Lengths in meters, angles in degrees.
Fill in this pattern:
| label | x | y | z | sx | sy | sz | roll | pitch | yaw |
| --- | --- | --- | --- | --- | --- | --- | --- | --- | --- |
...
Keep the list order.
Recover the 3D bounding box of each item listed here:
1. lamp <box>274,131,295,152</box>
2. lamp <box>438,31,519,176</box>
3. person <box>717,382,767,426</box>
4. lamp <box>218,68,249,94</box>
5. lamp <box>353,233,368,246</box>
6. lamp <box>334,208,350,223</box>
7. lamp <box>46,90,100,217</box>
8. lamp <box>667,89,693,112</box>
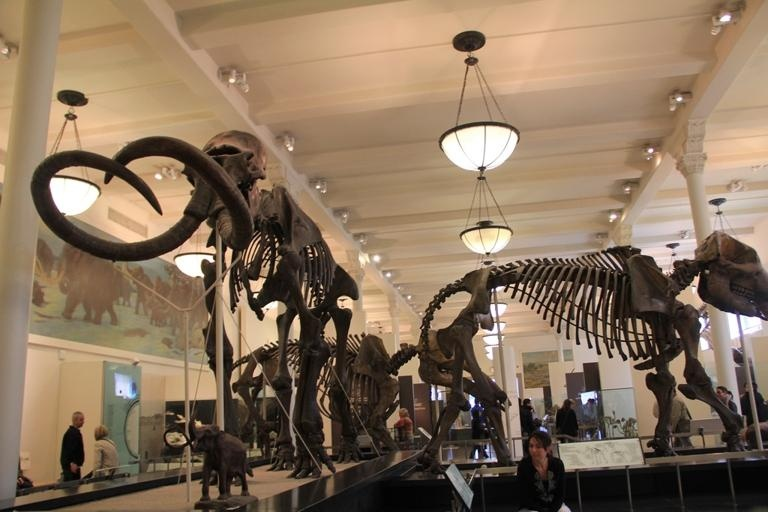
| label | x | y | z | sx | sy | sz | roll | pitch | yaw |
| --- | --- | --- | --- | --- | --- | --- | --- | --- | --- |
| lamp | -2.111 | -2.458 | 12.317 | 0.220 | 0.396 | 0.217 | -28 | -38 | -20 |
| lamp | 1.625 | -2.749 | 10.275 | 1.501 | 2.404 | 1.422 | -5 | -10 | 4 |
| person | 6.904 | 2.835 | 11.157 | 0.735 | 0.748 | 2.529 | -17 | -21 | 29 |
| lamp | -2.701 | -3.189 | 10.525 | 0.381 | 0.199 | 0.473 | 5 | 1 | -10 |
| lamp | -0.691 | -0.513 | 17.590 | 0.340 | 0.206 | 0.329 | 0 | -10 | 3 |
| lamp | -1.111 | -1.164 | 16.162 | 0.372 | 0.114 | 0.339 | 1 | -58 | 13 |
| lamp | -5.929 | -1.682 | 11.174 | 0.826 | 2.521 | 2.322 | 5 | -22 | -30 |
| lamp | 5.960 | -3.181 | 11.808 | 0.369 | 0.087 | 0.352 | -4 | -27 | 1 |
